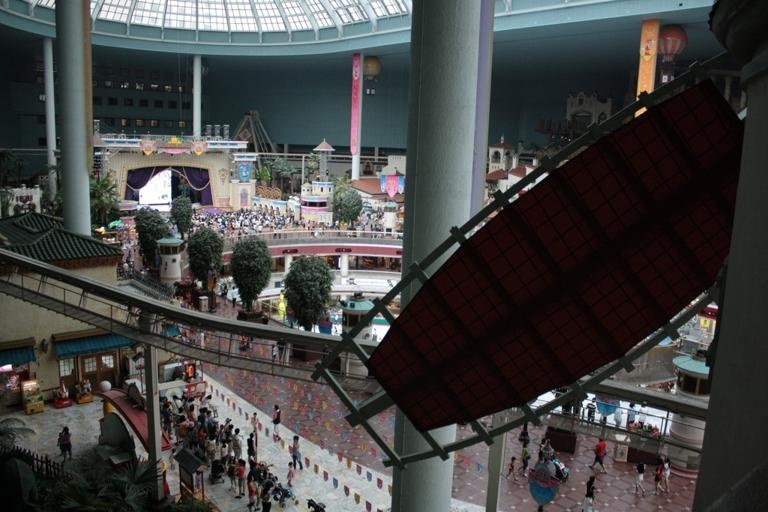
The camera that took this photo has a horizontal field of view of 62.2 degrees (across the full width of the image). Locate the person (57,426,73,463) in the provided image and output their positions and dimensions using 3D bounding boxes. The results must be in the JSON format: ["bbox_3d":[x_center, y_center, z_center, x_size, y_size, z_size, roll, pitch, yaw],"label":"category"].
[{"bbox_3d":[-8.799,5.156,17.589,0.316,0.861,0.501,-2,10,-29],"label":"person"}]

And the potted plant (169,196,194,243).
[{"bbox_3d":[-13.160,-2.405,41.481,1.150,2.825,1.678,-1,9,-20],"label":"potted plant"}]

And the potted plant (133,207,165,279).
[{"bbox_3d":[-12.633,-0.749,34.731,1.321,3.321,2.362,-5,11,-38],"label":"potted plant"}]

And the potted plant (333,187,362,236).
[{"bbox_3d":[-2.609,-3.819,50.023,2.727,3.709,2.896,-3,15,-13],"label":"potted plant"}]

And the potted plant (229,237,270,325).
[{"bbox_3d":[-6.042,1.029,28.860,1.672,3.602,2.038,0,9,-14],"label":"potted plant"}]

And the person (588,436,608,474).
[{"bbox_3d":[6.198,5.598,18.373,0.415,1.003,1.134,5,10,19],"label":"person"}]
